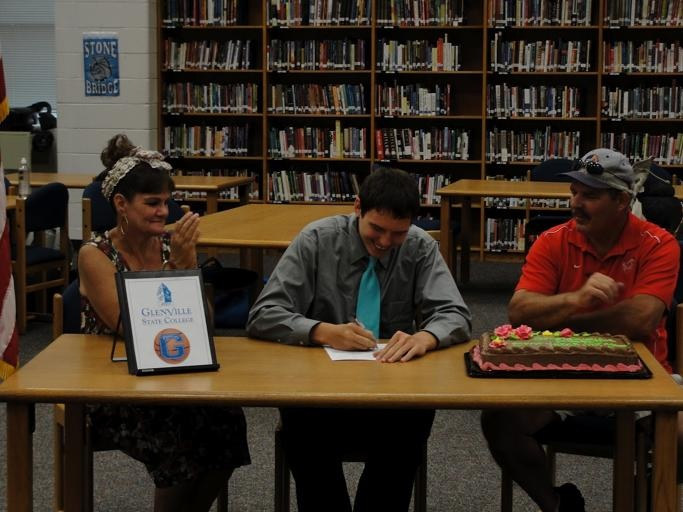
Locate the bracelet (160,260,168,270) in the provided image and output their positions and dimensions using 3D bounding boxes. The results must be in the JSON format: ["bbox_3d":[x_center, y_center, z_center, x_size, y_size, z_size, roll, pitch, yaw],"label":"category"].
[{"bbox_3d":[-0.645,0.035,2.463,0.027,0.037,0.034,0,-3,6],"label":"bracelet"}]

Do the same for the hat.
[{"bbox_3d":[0.932,-0.303,2.471,0.264,0.171,0.215,7,3,-7],"label":"hat"}]

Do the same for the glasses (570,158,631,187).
[{"bbox_3d":[0.918,-0.292,2.415,0.146,0.095,0.123,13,5,-10],"label":"glasses"}]

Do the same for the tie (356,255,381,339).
[{"bbox_3d":[0.092,0.145,2.322,0.080,0.382,0.028,6,38,5],"label":"tie"}]

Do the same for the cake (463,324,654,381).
[{"bbox_3d":[0.607,0.278,1.956,0.282,0.073,0.227,-1,11,2],"label":"cake"}]
